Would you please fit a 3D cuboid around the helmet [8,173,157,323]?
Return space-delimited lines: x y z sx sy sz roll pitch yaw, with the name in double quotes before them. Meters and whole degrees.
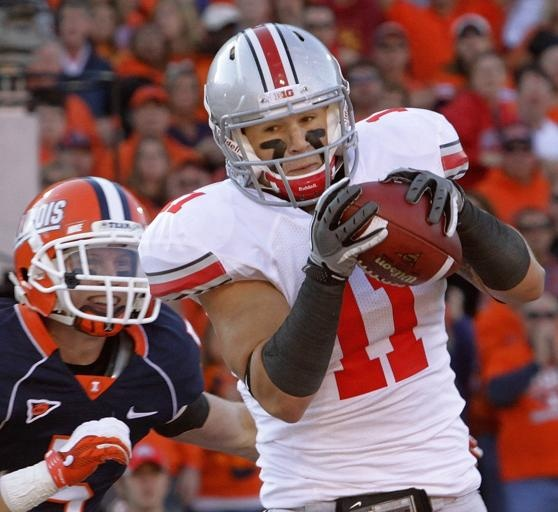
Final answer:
"helmet" -0.679 -0.016 2.672 0.392 0.343 0.496 1 1 -35

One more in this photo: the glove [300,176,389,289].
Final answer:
"glove" 0.140 -0.051 1.942 0.182 0.217 0.060 34 4 -28

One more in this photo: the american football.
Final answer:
"american football" 0.284 -0.037 2.028 0.288 0.164 0.200 19 4 -33

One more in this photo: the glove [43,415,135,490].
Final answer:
"glove" -0.547 0.561 2.521 0.104 0.239 0.168 46 19 -43
